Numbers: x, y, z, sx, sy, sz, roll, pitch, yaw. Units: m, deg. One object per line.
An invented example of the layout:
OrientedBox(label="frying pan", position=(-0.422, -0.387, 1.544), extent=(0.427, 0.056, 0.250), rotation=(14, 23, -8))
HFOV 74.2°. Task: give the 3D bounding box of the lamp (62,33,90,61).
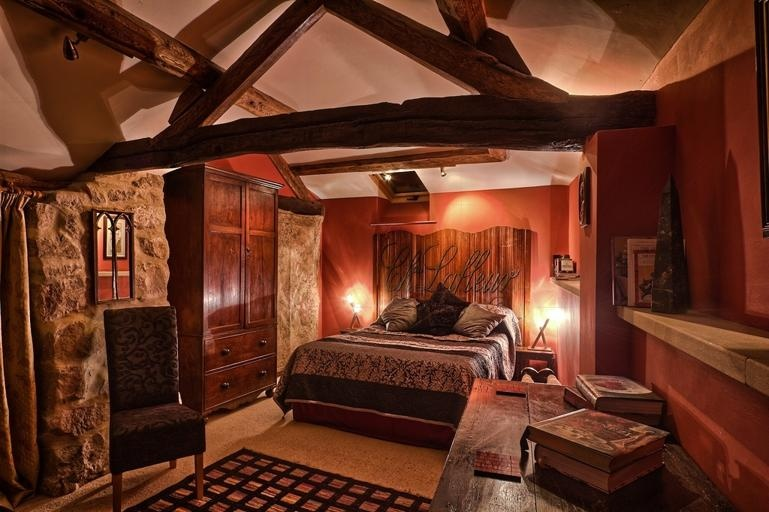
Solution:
OrientedBox(label="lamp", position=(-2.129, -1.446, 3.518), extent=(0.153, 0.181, 0.282), rotation=(-7, 13, -31))

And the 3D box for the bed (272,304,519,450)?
OrientedBox(label="bed", position=(0.399, 1.190, 6.016), extent=(2.299, 1.144, 3.005), rotation=(1, -1, 16))

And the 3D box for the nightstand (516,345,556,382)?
OrientedBox(label="nightstand", position=(1.764, 1.243, 5.935), extent=(0.466, 0.430, 0.382), rotation=(-1, -3, 19))

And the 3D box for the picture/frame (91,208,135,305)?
OrientedBox(label="picture/frame", position=(-2.366, -0.011, 4.444), extent=(0.374, 0.813, 0.039), rotation=(-1, 0, 5))
